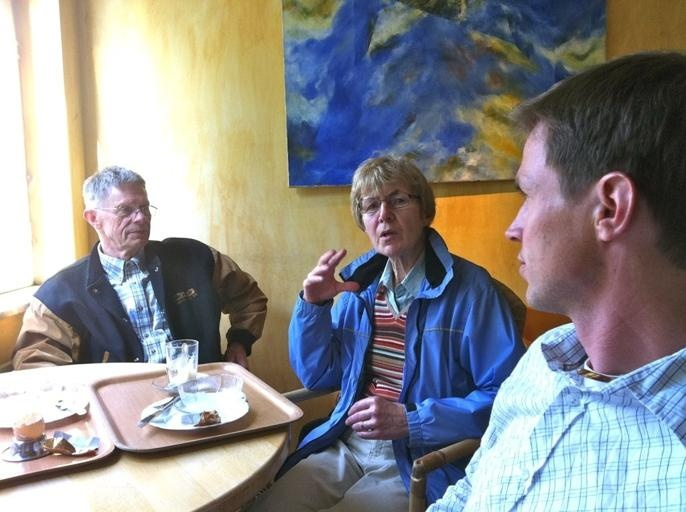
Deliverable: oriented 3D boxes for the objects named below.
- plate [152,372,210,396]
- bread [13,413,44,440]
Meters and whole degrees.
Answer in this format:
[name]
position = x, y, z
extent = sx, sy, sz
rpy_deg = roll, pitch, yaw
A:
[plate]
position = -0.504, 0.365, 1.674
extent = 0.108, 0.028, 0.112
rpy_deg = 1, 5, 14
[bread]
position = -0.756, 0.403, 1.381
extent = 0.056, 0.041, 0.058
rpy_deg = -11, -13, 5
